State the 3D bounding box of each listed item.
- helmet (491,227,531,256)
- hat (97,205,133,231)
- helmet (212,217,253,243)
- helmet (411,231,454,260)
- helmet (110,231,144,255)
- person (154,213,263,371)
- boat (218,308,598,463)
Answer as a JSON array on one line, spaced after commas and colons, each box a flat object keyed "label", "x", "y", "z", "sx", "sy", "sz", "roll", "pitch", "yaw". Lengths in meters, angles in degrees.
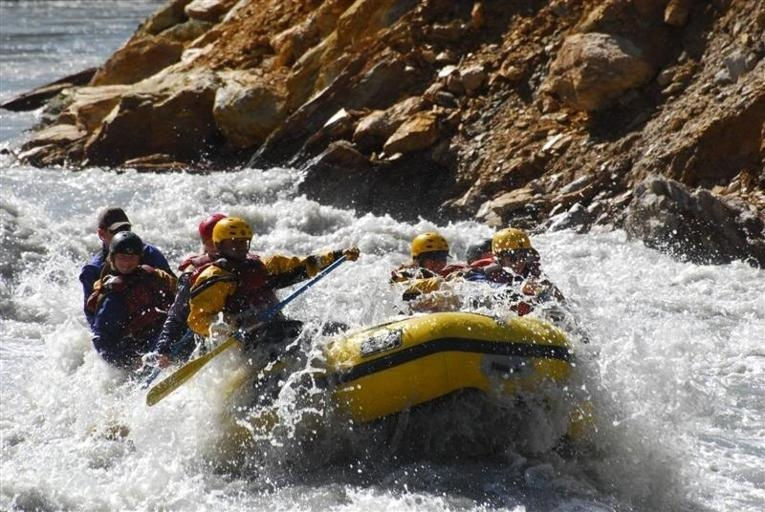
[{"label": "helmet", "x": 1.915, "y": -0.203, "z": 17.315, "sx": 0.376, "sy": 0.505, "sz": 0.387, "roll": -12, "pitch": 80, "yaw": -31}, {"label": "hat", "x": -4.343, "y": -0.609, "z": 18.346, "sx": 0.496, "sy": 0.350, "sz": 0.244, "roll": -14, "pitch": 83, "yaw": 39}, {"label": "helmet", "x": -2.263, "y": -0.385, "z": 16.849, "sx": 0.504, "sy": 0.361, "sz": 0.385, "roll": -17, "pitch": 96, "yaw": 10}, {"label": "helmet", "x": 0.717, "y": -0.166, "z": 17.625, "sx": 0.498, "sy": 0.354, "sz": 0.400, "roll": -20, "pitch": 90, "yaw": 23}, {"label": "helmet", "x": -3.983, "y": -0.173, "z": 17.516, "sx": 0.481, "sy": 0.321, "sz": 0.343, "roll": -2, "pitch": 49, "yaw": 2}, {"label": "person", "x": -2.644, "y": 0.624, "z": 17.148, "sx": 0.890, "sy": 2.738, "sz": 1.544, "roll": 13, "pitch": 26, "yaw": 17}, {"label": "boat", "x": 0.257, "y": 1.966, "z": 18.227, "sx": 3.326, "sy": 5.739, "sz": 1.751, "roll": 3, "pitch": 80, "yaw": -42}]
